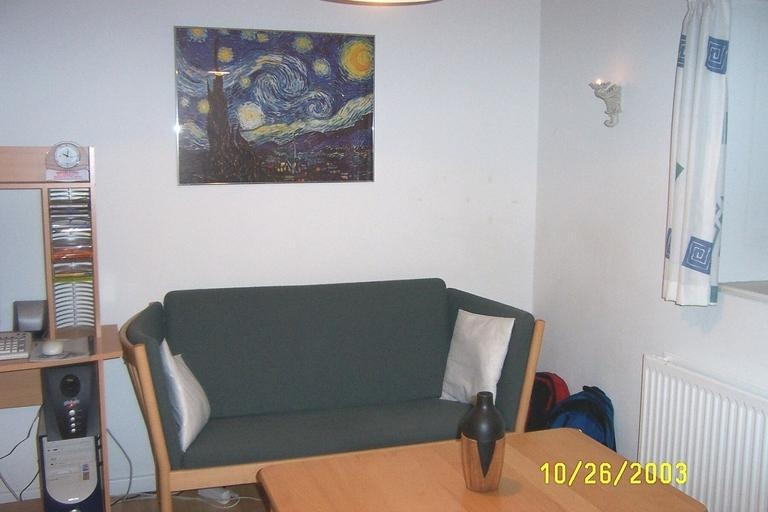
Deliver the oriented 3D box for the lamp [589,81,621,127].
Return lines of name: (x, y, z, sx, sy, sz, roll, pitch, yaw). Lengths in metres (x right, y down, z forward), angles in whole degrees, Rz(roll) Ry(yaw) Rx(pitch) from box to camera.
lamp: (1.406, -0.995, 3.595, 0.095, 0.328, 0.250, -5, 8, -29)

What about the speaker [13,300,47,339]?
speaker: (-2.166, 0.373, 3.430, 0.246, 0.196, 0.207, 4, -1, -20)

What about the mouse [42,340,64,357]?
mouse: (-1.870, 0.509, 3.127, 0.089, 0.046, 0.089, 10, 13, 4)

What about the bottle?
bottle: (0.438, 0.822, 2.462, 0.191, 0.452, 0.143, 0, 7, 3)

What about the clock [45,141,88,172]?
clock: (-1.840, -0.579, 3.220, 0.208, 0.156, 0.046, -1, 9, -18)
